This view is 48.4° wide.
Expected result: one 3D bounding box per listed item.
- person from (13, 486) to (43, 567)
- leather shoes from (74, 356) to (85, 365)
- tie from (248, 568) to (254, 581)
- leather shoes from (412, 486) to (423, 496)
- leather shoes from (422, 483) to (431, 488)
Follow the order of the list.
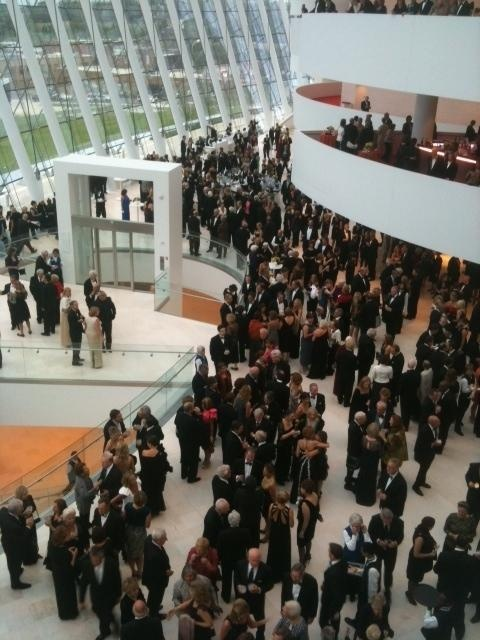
[{"bbox_3d":[-2.268,2.217,5.693,0.227,0.858,0.335,-10,63,-17],"label":"person"},{"bbox_3d":[-3.467,0.900,11.482,0.229,0.255,0.125,-7,48,-17],"label":"leather shoes"},{"bbox_3d":[0.100,2.181,4.577,0.046,0.134,0.024,-2,16,3],"label":"tie"},{"bbox_3d":[2.516,2.411,7.562,0.138,0.108,0.144,2,19,17],"label":"leather shoes"},{"bbox_3d":[2.669,2.377,7.673,0.101,0.084,0.041,-6,50,7],"label":"leather shoes"}]
